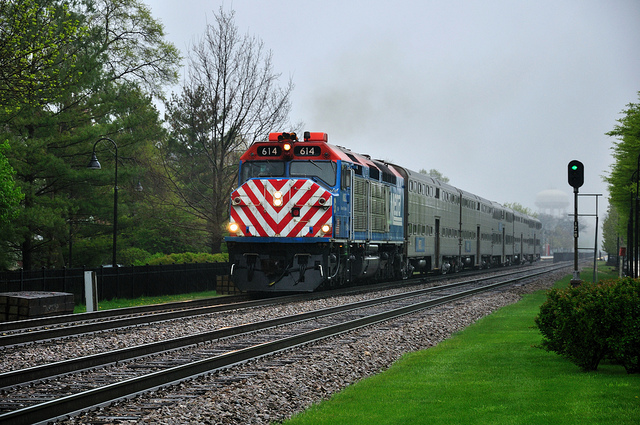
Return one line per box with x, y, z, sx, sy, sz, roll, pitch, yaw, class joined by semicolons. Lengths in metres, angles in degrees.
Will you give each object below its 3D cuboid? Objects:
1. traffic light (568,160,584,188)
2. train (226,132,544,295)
9.047;-1.374;19.520;0.392;0.910;0.602;-5;-9;36;traffic light
8.949;0.966;44.665;7.613;8.971;49.275;-1;-3;24;train
